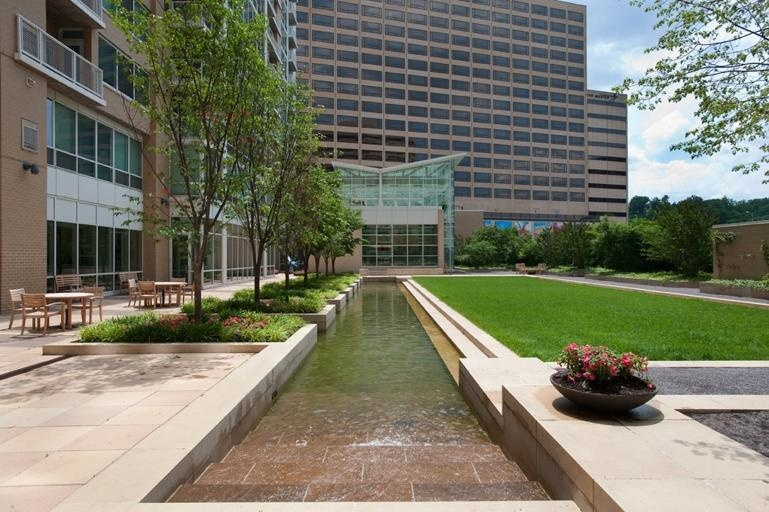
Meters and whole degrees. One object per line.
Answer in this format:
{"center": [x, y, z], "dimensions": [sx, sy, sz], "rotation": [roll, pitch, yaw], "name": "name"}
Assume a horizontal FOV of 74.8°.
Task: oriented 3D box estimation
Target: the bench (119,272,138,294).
{"center": [-12.847, 1.387, 25.092], "dimensions": [0.437, 0.757, 1.159], "rotation": [0, -1, 0], "name": "bench"}

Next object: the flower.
{"center": [3.619, 1.855, 8.685], "dimensions": [0.997, 0.517, 0.885], "rotation": [0, 3, 3], "name": "flower"}
